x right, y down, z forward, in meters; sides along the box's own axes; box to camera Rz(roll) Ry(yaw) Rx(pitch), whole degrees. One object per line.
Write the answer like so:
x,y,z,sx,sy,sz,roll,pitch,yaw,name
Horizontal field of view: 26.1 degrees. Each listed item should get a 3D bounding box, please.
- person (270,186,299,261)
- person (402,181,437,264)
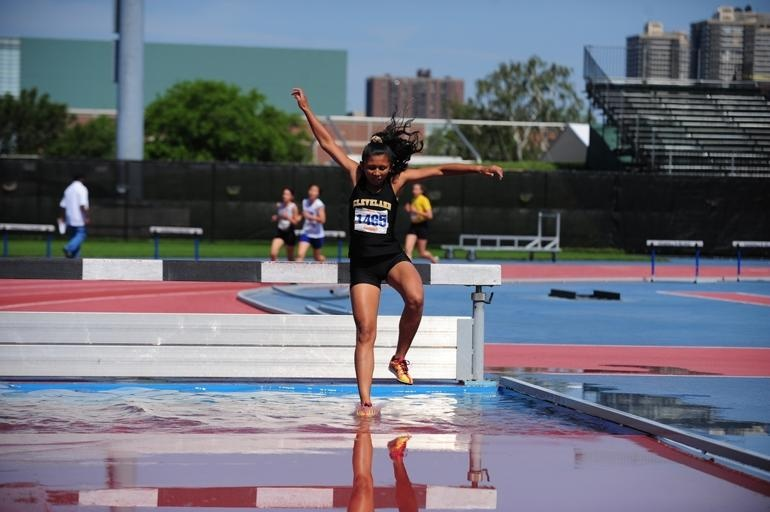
-2.741,-0.602,45.425,0.883,2.502,1.031,-1,8,-19,person
1.065,-0.880,48.187,1.464,2.462,1.070,3,3,-37,person
